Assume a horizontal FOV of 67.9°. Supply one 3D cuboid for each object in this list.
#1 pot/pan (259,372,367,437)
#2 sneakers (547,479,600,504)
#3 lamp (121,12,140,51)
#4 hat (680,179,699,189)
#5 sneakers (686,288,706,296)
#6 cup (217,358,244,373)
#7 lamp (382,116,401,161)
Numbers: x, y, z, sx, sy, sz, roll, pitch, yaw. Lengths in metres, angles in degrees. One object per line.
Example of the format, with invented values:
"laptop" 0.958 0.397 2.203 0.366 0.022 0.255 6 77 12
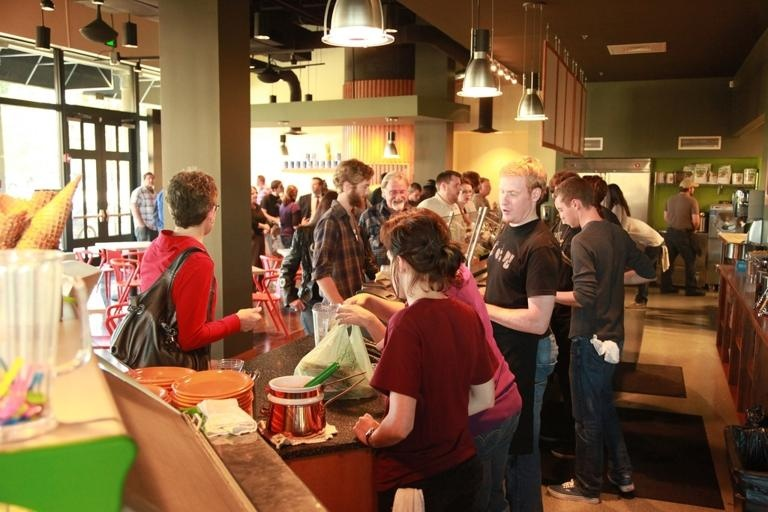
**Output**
"pot/pan" -0.256 0.539 2.068 0.334 0.226 0.204 1 0 10
"sneakers" 1.193 1.465 3.630 0.304 0.123 0.114 3 -5 26
"lamp" -3.629 -3.187 8.179 0.184 0.431 0.439 -4 6 -24
"hat" 5.278 -1.265 9.905 0.265 0.160 0.420 5 9 40
"sneakers" 5.283 0.615 9.733 0.245 0.163 0.091 -6 8 -18
"cup" -0.584 0.408 2.170 0.062 0.044 0.059 0 -2 0
"lamp" 0.163 -2.572 12.721 0.509 0.835 0.498 -4 -1 -20
